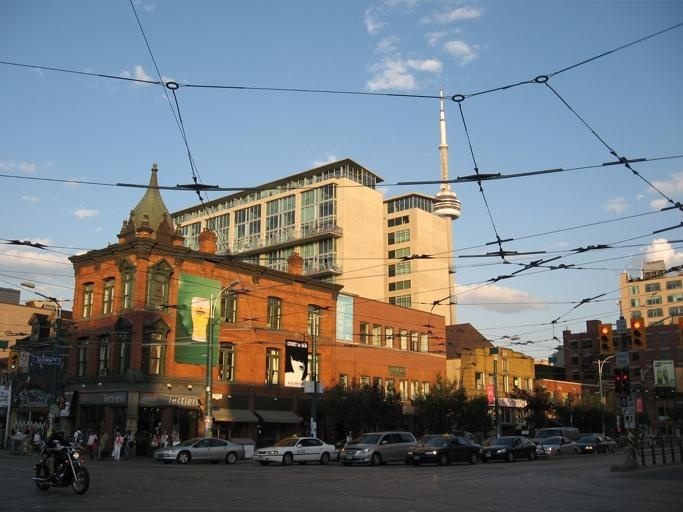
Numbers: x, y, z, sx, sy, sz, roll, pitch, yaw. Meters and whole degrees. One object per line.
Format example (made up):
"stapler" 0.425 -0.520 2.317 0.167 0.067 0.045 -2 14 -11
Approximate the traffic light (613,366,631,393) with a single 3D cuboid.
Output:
"traffic light" 14.299 6.331 38.190 0.722 1.262 0.932 -7 -19 15

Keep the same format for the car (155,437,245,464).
"car" -8.569 11.875 45.604 4.768 1.228 1.972 13 -18 -32

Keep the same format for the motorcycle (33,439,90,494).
"motorcycle" -10.184 7.760 27.453 2.729 1.389 1.368 -14 -23 35

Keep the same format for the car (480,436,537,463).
"car" 10.756 12.415 48.394 1.380 1.662 4.564 -17 -23 40

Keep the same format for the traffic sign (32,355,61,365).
"traffic sign" -23.011 8.255 59.036 1.901 0.494 1.677 -4 -5 30

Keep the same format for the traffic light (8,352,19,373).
"traffic light" -23.329 7.400 53.213 0.600 1.353 1.032 7 -20 -24

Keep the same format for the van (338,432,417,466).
"van" 2.135 11.723 45.376 5.557 1.870 2.330 9 -13 -43

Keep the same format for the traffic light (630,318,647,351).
"traffic light" 14.945 3.840 37.812 0.682 1.654 1.166 -8 -20 20

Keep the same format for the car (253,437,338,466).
"car" -2.745 11.843 45.289 4.795 1.719 2.335 9 -16 -35

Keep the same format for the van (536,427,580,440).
"van" 18.327 15.040 63.525 4.728 1.321 1.764 16 -21 -42
